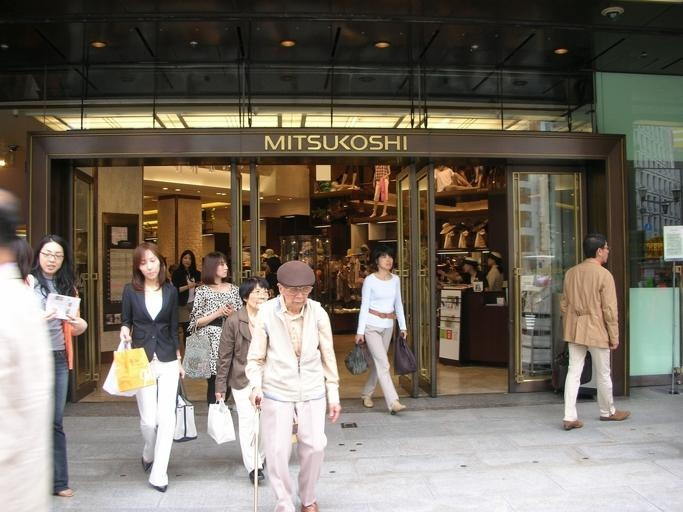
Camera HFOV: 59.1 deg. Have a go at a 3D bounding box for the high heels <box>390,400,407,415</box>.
[{"bbox_3d":[0.687,1.924,7.637,0.110,0.145,0.314,-5,-18,-24],"label":"high heels"}]

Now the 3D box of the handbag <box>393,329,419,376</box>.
[{"bbox_3d":[0.817,1.253,7.765,0.268,0.527,0.241,0,3,7],"label":"handbag"}]

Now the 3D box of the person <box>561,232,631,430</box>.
[{"bbox_3d":[2.944,0.877,7.116,0.686,2.248,0.696,0,3,21],"label":"person"}]

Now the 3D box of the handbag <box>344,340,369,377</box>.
[{"bbox_3d":[0.192,1.314,7.703,0.299,0.415,0.402,-1,3,0],"label":"handbag"}]

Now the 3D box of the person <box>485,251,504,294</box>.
[{"bbox_3d":[2.887,0.272,11.438,0.327,0.661,0.900,0,3,13],"label":"person"}]

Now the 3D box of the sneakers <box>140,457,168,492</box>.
[{"bbox_3d":[-1.775,2.074,5.705,0.143,0.110,0.441,31,-12,-37],"label":"sneakers"}]

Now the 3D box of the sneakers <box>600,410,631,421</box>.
[{"bbox_3d":[3.298,1.942,7.284,0.271,0.106,0.143,-2,-2,-2],"label":"sneakers"}]

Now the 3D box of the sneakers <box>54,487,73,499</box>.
[{"bbox_3d":[-2.515,2.153,5.443,0.153,0.062,0.065,-1,-3,-4],"label":"sneakers"}]

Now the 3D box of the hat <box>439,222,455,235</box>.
[{"bbox_3d":[2.516,-0.669,14.454,0.309,0.110,0.285,-38,7,-3],"label":"hat"}]

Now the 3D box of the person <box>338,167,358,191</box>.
[{"bbox_3d":[0.177,-2.183,16.911,0.278,0.625,0.758,-3,4,-41],"label":"person"}]

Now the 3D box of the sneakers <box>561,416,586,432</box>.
[{"bbox_3d":[2.670,1.960,7.018,0.254,0.104,0.104,-2,3,-36],"label":"sneakers"}]

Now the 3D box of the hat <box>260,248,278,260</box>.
[{"bbox_3d":[-1.751,-0.045,14.447,0.429,0.207,0.543,0,1,-33],"label":"hat"}]

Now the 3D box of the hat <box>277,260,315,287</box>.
[{"bbox_3d":[-0.365,0.142,4.695,0.275,0.197,0.234,-1,3,-7],"label":"hat"}]
